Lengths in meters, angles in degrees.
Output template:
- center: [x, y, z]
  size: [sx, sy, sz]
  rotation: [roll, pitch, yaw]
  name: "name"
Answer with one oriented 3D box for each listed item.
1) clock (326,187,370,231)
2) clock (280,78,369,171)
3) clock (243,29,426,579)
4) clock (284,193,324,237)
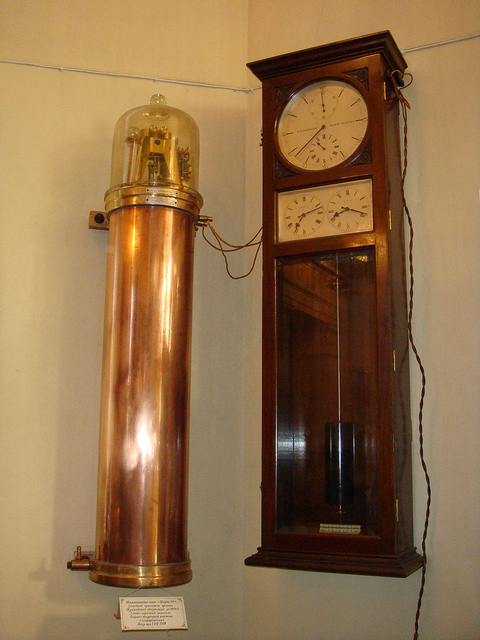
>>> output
- center: [0.292, -0.303, 2.521]
  size: [0.117, 0.130, 0.008]
  rotation: [-5, -20, 17]
  name: "clock"
- center: [0.233, -0.549, 2.607]
  size: [0.251, 0.259, 0.039]
  rotation: [-8, -12, 33]
  name: "clock"
- center: [0.237, -0.054, 2.544]
  size: [0.434, 1.431, 0.193]
  rotation: [-5, -11, 23]
  name: "clock"
- center: [0.181, -0.288, 2.574]
  size: [0.114, 0.127, 0.013]
  rotation: [-4, -15, 32]
  name: "clock"
